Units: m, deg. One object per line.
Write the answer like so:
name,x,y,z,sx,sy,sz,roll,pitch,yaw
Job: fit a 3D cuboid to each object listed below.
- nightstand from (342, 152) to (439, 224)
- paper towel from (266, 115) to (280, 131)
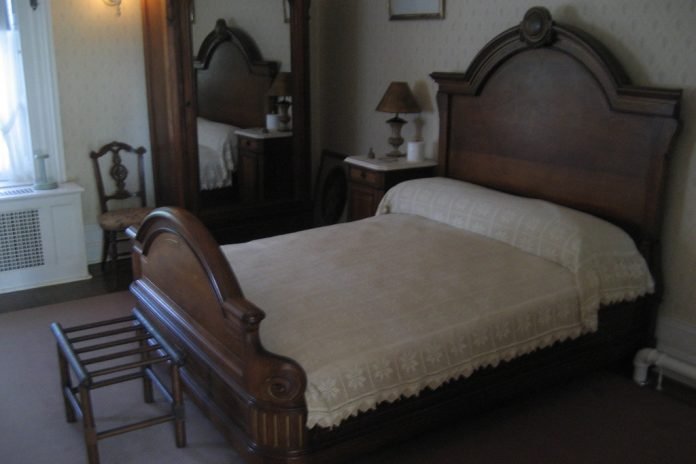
nightstand,0.395,-0.477,4.855,0.612,0.925,0.695,-8,24,-27
paper towel,-0.762,-1.108,5.354,0.139,0.169,0.145,1,13,5
